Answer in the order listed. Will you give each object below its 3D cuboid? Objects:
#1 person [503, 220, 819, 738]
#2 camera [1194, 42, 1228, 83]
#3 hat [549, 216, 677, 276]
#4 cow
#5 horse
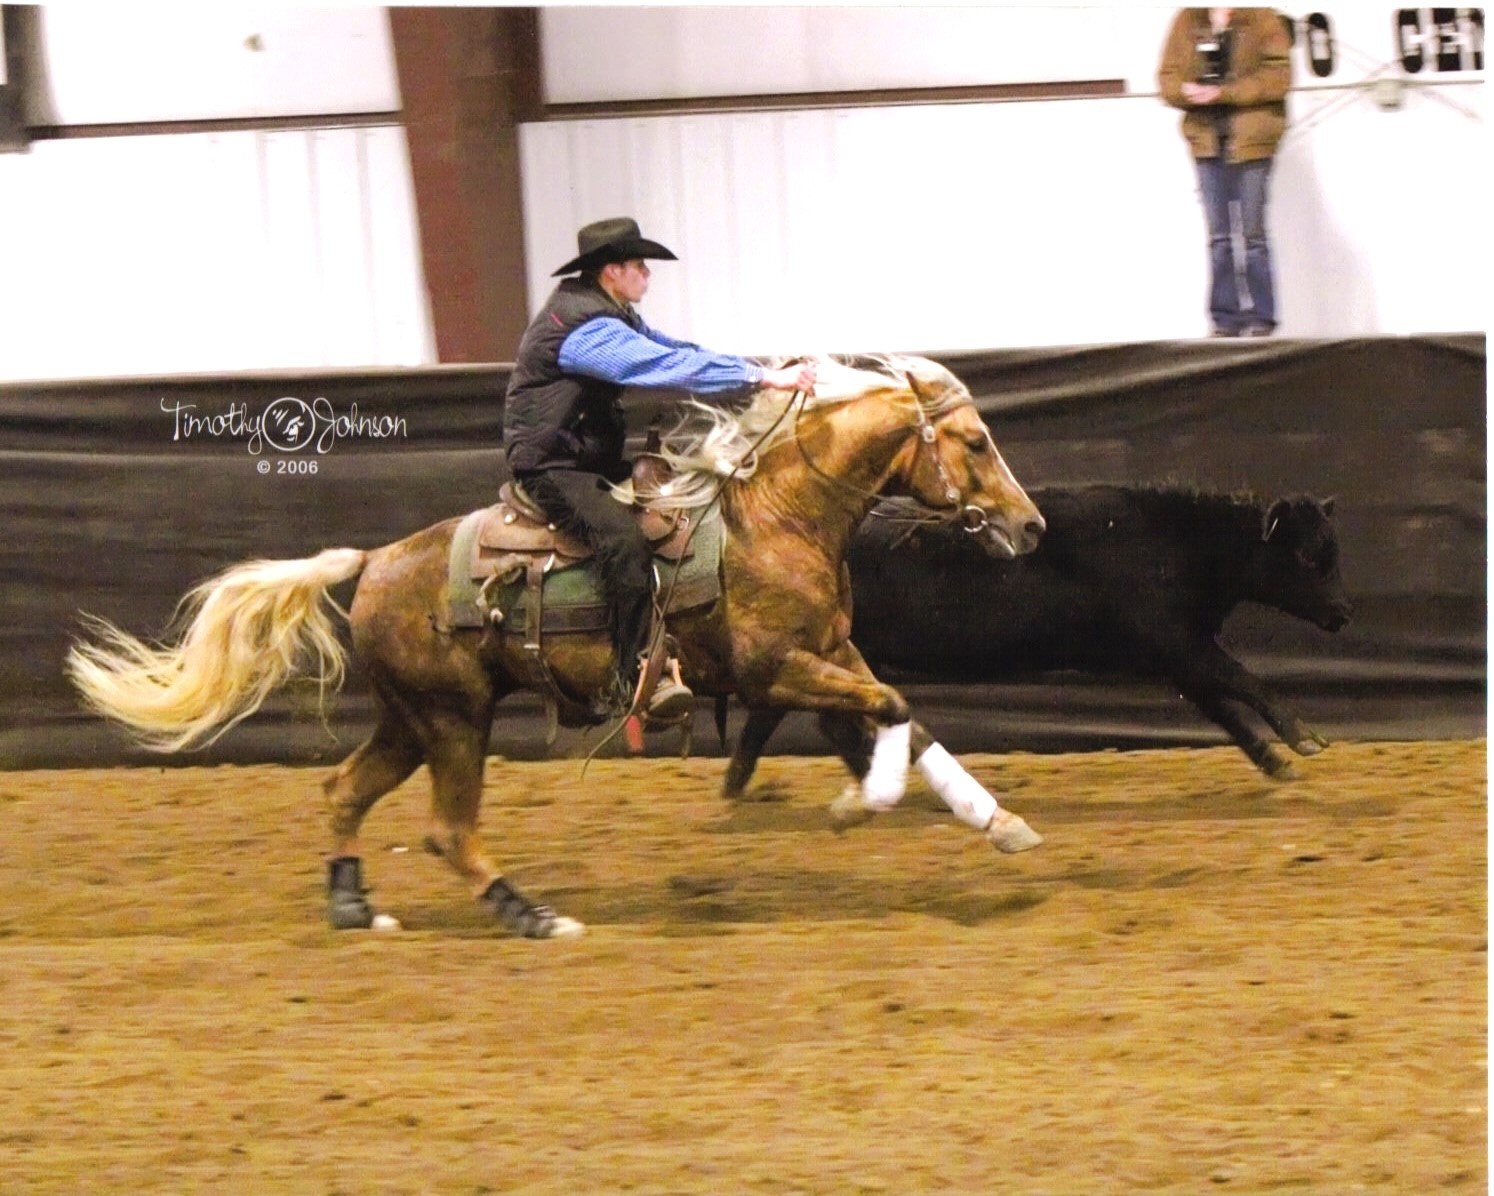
[{"bbox_3d":[-0.395,-0.460,6.260,0.601,1.701,0.631,-14,15,-42],"label":"person"},{"bbox_3d":[1.926,-2.216,7.478,0.204,0.143,0.146,1,-34,1],"label":"camera"},{"bbox_3d":[-0.467,-1.252,6.318,0.404,0.105,0.271,-11,1,5],"label":"hat"},{"bbox_3d":[1.454,0.124,8.000,3.009,0.969,0.680,-7,2,42],"label":"cow"},{"bbox_3d":[-0.642,0.168,6.741,4.433,1.753,0.856,-5,6,27],"label":"horse"}]
